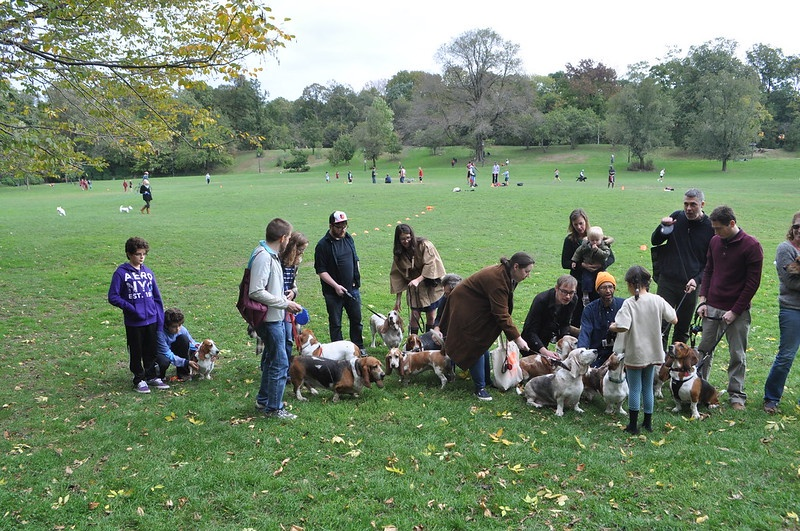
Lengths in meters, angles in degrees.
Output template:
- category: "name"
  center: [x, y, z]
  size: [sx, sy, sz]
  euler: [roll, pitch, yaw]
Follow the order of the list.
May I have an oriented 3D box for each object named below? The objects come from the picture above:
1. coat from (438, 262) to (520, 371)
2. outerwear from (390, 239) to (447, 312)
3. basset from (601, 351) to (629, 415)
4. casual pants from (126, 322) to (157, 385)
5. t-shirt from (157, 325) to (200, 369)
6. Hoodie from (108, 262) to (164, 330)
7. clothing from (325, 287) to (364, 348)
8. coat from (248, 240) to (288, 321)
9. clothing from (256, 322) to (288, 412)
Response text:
- category: "coat"
  center: [1.698, 0.894, 13.763]
  size: [1.692, 2.058, 1.572]
  euler: [6, 22, -1]
- category: "outerwear"
  center: [0.395, 0.162, 15.476]
  size: [1.266, 1.605, 0.760]
  euler: [-15, 12, -5]
- category: "basset"
  center: [4.076, 2.239, 12.813]
  size: [0.475, 1.315, 0.557]
  euler: [1, 10, 16]
- category: "casual pants"
  center: [-5.218, 1.756, 13.721]
  size: [0.435, 1.415, 0.423]
  euler: [-16, -17, -6]
- category: "t-shirt"
  center: [-4.698, 1.751, 14.209]
  size: [0.599, 1.024, 0.747]
  euler: [9, 17, 25]
- category: "Hoodie"
  center: [-5.292, 0.615, 13.555]
  size: [0.970, 1.284, 0.441]
  euler: [-5, 10, -20]
- category: "clothing"
  center: [-1.264, 0.872, 15.102]
  size: [0.884, 0.505, 1.908]
  euler: [-1, -32, -7]
- category: "coat"
  center: [-2.450, 0.310, 12.501]
  size: [0.711, 1.512, 0.434]
  euler: [-4, 10, -13]
- category: "clothing"
  center: [-2.450, 1.898, 12.820]
  size: [0.643, 1.790, 0.392]
  euler: [4, 11, 33]
